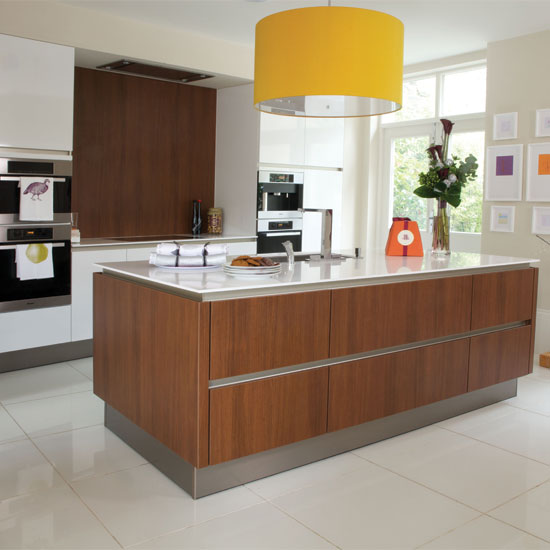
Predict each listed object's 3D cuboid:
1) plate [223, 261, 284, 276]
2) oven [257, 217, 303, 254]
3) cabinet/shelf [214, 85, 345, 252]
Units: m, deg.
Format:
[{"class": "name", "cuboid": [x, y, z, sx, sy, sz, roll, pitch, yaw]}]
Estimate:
[{"class": "plate", "cuboid": [-0.094, -0.026, 2.224, 0.273, 0.048, 0.182, 0, 5, -17]}, {"class": "oven", "cuboid": [0.071, -0.388, 5.109, 0.468, 0.391, 0.282, -2, -4, 9]}, {"class": "cabinet/shelf", "cuboid": [0.054, -1.171, 5.036, 1.325, 1.514, 0.694, 0, 4, -10]}]
